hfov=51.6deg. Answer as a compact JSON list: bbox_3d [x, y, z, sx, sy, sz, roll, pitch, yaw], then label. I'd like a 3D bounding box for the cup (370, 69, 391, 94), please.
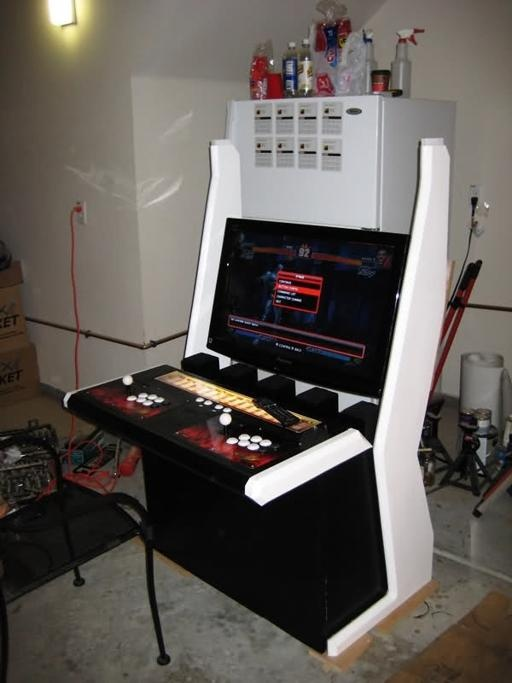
[{"bbox_3d":[0.451,-0.974,1.993,0.088,0.101,0.092,-1,20,0],"label":"cup"}]

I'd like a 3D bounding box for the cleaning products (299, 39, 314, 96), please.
[{"bbox_3d":[0.177,-0.992,1.923,0.057,0.230,0.160,-1,7,7],"label":"cleaning products"}]

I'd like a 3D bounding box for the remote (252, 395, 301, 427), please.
[{"bbox_3d":[0.049,0.173,1.356,0.043,0.025,0.130,-8,17,-24],"label":"remote"}]

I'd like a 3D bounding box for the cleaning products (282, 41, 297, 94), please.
[{"bbox_3d":[0.124,-0.994,1.949,0.058,0.200,0.158,-2,7,4],"label":"cleaning products"}]
